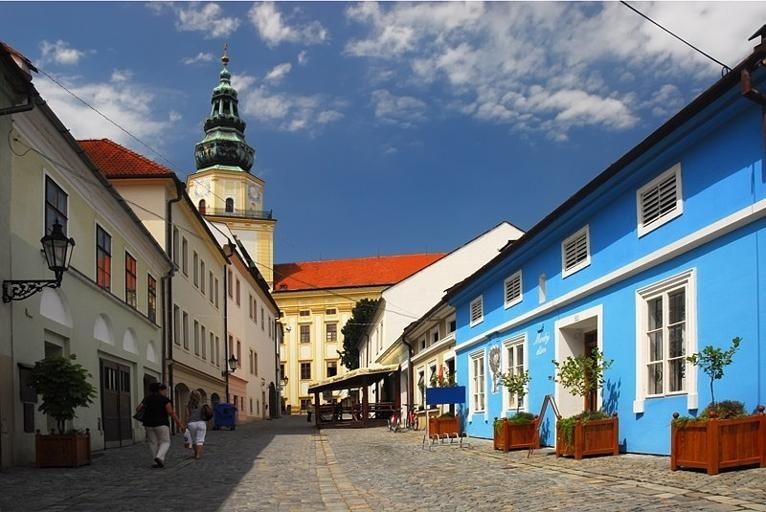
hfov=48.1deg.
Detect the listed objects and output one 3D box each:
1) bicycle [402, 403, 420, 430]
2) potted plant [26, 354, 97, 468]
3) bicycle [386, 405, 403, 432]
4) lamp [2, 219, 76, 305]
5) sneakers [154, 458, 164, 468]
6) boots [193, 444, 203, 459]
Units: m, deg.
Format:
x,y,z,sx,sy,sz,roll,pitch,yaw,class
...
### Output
x,y,z,sx,sy,sz,roll,pitch,yaw,class
1.339,6.796,35.618,0.704,0.776,1.431,2,-20,-14,bicycle
-6.960,3.457,18.660,1.300,2.431,2.143,5,-21,-17,potted plant
0.477,6.629,34.115,0.524,0.611,1.006,3,-8,0,bicycle
-7.076,0.153,17.738,1.347,1.661,0.749,-10,-21,22,lamp
-4.703,4.369,18.072,0.124,0.267,0.181,-9,6,3,sneakers
-4.355,4.667,20.401,0.260,0.255,0.950,5,-11,-4,boots
